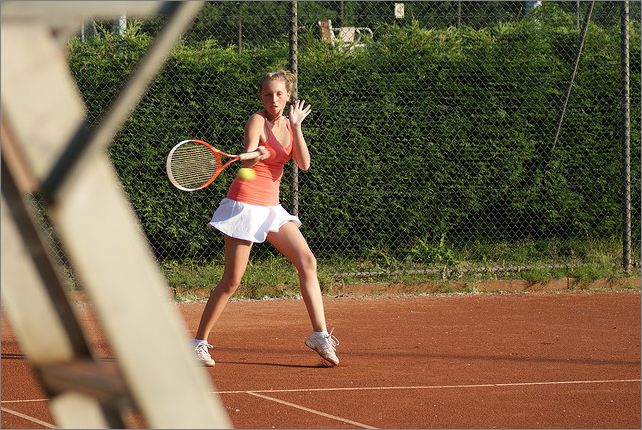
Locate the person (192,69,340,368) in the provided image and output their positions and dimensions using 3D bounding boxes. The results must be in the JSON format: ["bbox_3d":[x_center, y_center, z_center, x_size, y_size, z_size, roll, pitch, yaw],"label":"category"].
[{"bbox_3d":[-0.338,0.048,4.565,0.902,1.878,0.333,-1,5,-12],"label":"person"}]

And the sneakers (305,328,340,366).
[{"bbox_3d":[0.003,0.865,4.827,0.250,0.112,0.087,42,36,-11],"label":"sneakers"}]

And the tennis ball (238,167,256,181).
[{"bbox_3d":[-0.454,-0.246,4.465,0.059,0.077,0.107,5,7,44],"label":"tennis ball"}]
